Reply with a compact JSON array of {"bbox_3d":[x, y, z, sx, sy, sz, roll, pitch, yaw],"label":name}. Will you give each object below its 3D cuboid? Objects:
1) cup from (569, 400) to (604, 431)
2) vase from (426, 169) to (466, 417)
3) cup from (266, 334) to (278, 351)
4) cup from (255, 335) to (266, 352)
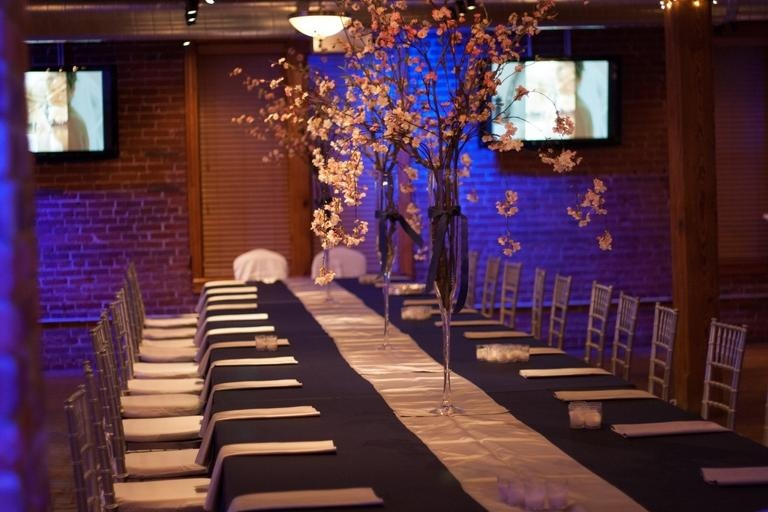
[{"bbox_3d":[0.752,0.588,2.876,0.124,0.085,0.094,0,11,13],"label":"cup"},{"bbox_3d":[0.249,0.137,3.029,0.155,0.940,0.254,-2,12,4],"label":"vase"},{"bbox_3d":[-0.571,0.451,3.997,0.065,0.066,0.063,1,5,0],"label":"cup"},{"bbox_3d":[-0.633,0.452,3.984,0.062,0.063,0.063,0,-5,0],"label":"cup"}]
